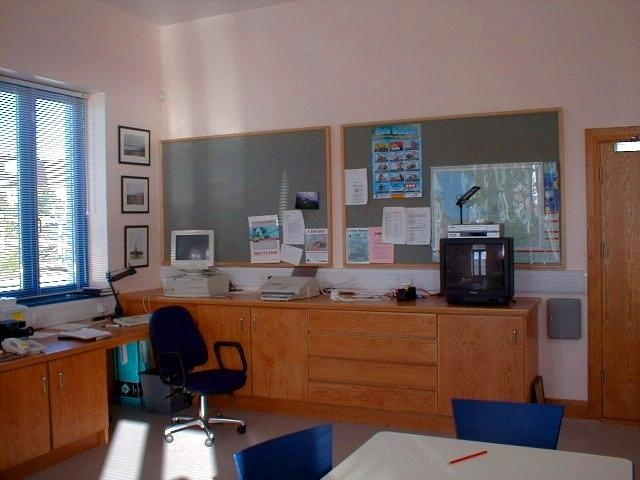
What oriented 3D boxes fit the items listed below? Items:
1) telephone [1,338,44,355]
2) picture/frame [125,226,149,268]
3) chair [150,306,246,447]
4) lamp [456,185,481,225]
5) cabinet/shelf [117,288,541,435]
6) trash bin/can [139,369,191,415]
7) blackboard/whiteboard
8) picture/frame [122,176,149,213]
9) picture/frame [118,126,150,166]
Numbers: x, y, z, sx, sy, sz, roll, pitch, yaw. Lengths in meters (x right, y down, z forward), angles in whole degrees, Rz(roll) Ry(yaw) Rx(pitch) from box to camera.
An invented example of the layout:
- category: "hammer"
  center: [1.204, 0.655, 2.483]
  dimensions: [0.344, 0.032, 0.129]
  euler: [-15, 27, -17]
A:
- category: "telephone"
  center: [-2.187, 0.782, 3.714]
  dimensions: [0.258, 0.120, 0.183]
  euler: [-6, 8, -34]
- category: "picture/frame"
  center: [-1.926, 0.073, 5.309]
  dimensions: [0.067, 0.461, 0.349]
  euler: [1, 7, 19]
- category: "chair"
  center: [-1.008, 1.108, 4.364]
  dimensions: [0.820, 1.058, 0.752]
  euler: [0, 7, 15]
- category: "lamp"
  center: [1.326, -0.320, 4.498]
  dimensions: [0.211, 0.344, 0.156]
  euler: [0, 7, 15]
- category: "cabinet/shelf"
  center: [0.038, 1.046, 4.613]
  dimensions: [3.496, 1.016, 0.635]
  euler: [1, -4, 9]
- category: "trash bin/can"
  center: [-1.404, 1.401, 4.816]
  dimensions: [0.434, 0.428, 0.447]
  euler: [2, 1, 15]
- category: "blackboard/whiteboard"
  center: [0.140, -0.443, 4.920]
  dimensions: [3.896, 1.397, 0.166]
  euler: [1, 7, 17]
- category: "picture/frame"
  center: [-1.950, -0.481, 5.276]
  dimensions: [0.029, 0.403, 0.405]
  euler: [-1, 0, 32]
- category: "picture/frame"
  center: [-1.956, -0.990, 5.260]
  dimensions: [0.032, 0.434, 0.465]
  euler: [-1, -1, 33]
